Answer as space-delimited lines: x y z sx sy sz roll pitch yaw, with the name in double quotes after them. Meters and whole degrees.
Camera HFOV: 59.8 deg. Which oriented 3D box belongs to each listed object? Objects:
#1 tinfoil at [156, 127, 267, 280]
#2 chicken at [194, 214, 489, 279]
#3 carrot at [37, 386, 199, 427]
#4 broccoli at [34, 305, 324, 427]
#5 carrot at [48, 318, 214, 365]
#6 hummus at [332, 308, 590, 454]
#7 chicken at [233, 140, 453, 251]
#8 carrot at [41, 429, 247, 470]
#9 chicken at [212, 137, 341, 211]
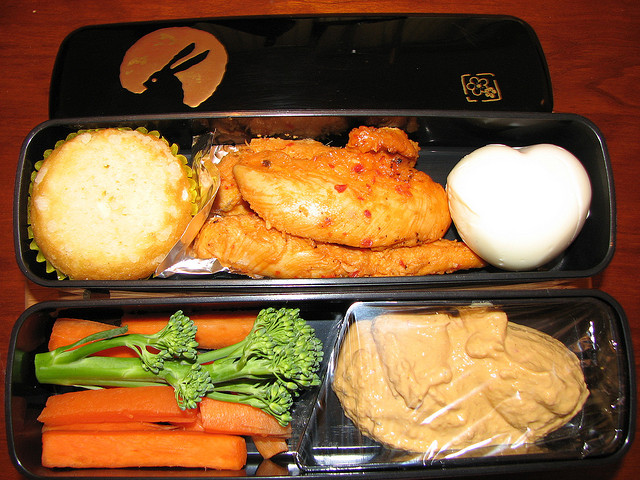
-0.630 -0.172 2.900 0.627 0.171 0.697 5 84 -9 "tinfoil"
0.139 0.089 2.767 1.463 0.198 0.337 1 20 -1 "chicken"
-0.986 0.786 2.595 0.748 0.153 0.133 -10 36 17 "carrot"
-0.659 0.618 2.583 1.331 0.385 0.521 0 24 -9 "broccoli"
-0.891 0.490 2.667 0.796 0.137 0.175 9 17 -5 "carrot"
0.662 0.652 2.598 1.183 0.303 0.625 -4 62 -5 "hummus"
0.114 -0.191 2.571 0.988 0.192 0.420 6 83 -5 "chicken"
-0.833 0.967 2.567 0.903 0.089 0.164 1 62 -3 "carrot"
-0.220 -0.352 2.819 0.583 0.145 0.346 -4 65 -1 "chicken"
